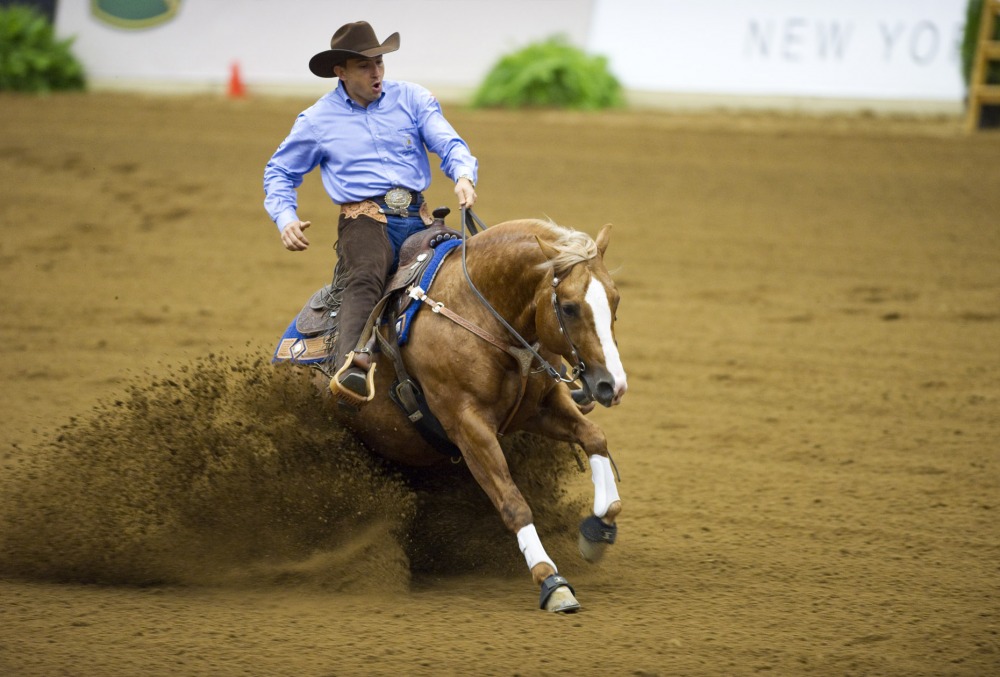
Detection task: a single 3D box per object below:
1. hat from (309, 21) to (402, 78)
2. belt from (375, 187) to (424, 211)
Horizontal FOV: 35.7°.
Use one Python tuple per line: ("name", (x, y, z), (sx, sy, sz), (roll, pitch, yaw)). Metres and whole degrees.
("hat", (-1.568, -2.945, 16.110), (0.747, 0.269, 0.685), (-21, 4, 33))
("belt", (-1.020, -1.428, 16.039), (0.320, 0.090, 0.286), (2, 38, 0))
